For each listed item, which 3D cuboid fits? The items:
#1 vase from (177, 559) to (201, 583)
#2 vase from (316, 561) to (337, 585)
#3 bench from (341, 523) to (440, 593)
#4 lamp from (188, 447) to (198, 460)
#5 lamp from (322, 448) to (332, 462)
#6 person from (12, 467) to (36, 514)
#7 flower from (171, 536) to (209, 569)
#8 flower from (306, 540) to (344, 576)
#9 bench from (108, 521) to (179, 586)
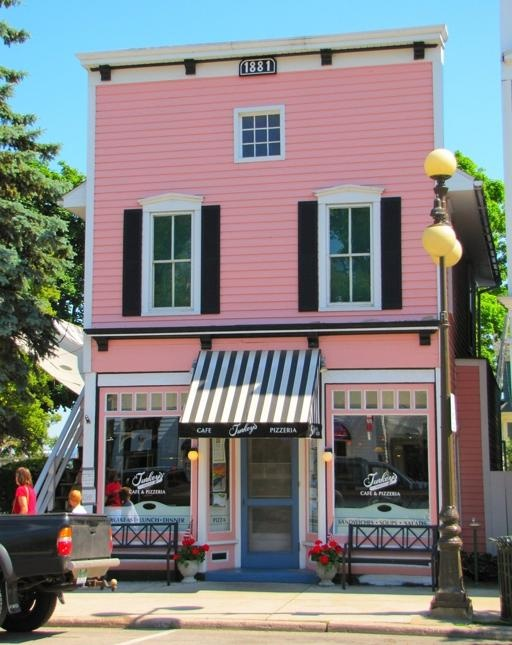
[{"bbox_3d":[-1.068,4.002,18.877,0.374,0.317,0.354,1,-20,-1],"label":"vase"},{"bbox_3d":[1.085,3.947,18.409,0.328,0.337,0.328,1,-19,-1],"label":"vase"},{"bbox_3d":[2.144,3.742,18.434,1.372,0.948,0.505,-2,-13,10],"label":"bench"},{"bbox_3d":[-1.052,2.202,19.478,0.191,0.216,0.247,0,-13,3],"label":"lamp"},{"bbox_3d":[1.152,2.174,19.047,0.156,0.227,0.220,-2,-13,7],"label":"lamp"},{"bbox_3d":[-3.185,2.315,16.245,0.296,0.779,1.802,3,-13,-11],"label":"person"},{"bbox_3d":[-1.031,3.728,19.058,0.458,0.358,0.440,-4,-3,1],"label":"flower"},{"bbox_3d":[1.127,3.707,18.536,0.481,0.348,0.483,3,-11,-2],"label":"flower"},{"bbox_3d":[-1.768,3.791,19.493,1.132,0.855,0.439,-2,-16,23],"label":"bench"}]
